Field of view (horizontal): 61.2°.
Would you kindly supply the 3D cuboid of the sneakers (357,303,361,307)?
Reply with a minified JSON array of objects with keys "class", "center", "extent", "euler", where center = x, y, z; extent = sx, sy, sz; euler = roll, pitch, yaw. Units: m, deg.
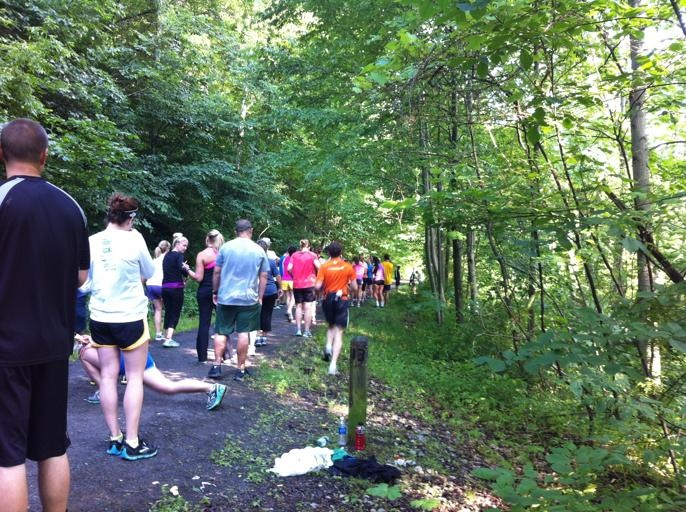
[{"class":"sneakers","center":[0.594,1.706,20.380],"extent":[0.128,0.224,0.121],"euler":[3,-5,-10]}]

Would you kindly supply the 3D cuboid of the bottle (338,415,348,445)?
[{"class":"bottle","center":[0.017,2.204,7.422],"extent":[0.123,0.325,0.295],"euler":[8,9,1]}]

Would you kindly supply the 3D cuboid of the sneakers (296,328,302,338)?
[{"class":"sneakers","center":[-0.969,1.702,12.901],"extent":[0.132,0.139,0.250],"euler":[8,-41,20]}]

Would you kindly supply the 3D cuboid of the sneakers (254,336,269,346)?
[{"class":"sneakers","center":[-1.601,1.652,11.404],"extent":[0.211,0.212,0.566],"euler":[0,-15,-5]}]

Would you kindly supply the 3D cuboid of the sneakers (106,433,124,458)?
[{"class":"sneakers","center":[-2.619,2.170,6.648],"extent":[0.137,0.121,0.297],"euler":[1,7,-13]}]

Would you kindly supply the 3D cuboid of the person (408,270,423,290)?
[{"class":"person","center":[3.967,1.214,31.332],"extent":[0.902,0.938,1.579],"euler":[5,6,7]}]

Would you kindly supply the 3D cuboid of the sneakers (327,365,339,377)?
[{"class":"sneakers","center":[-0.164,1.946,9.927],"extent":[0.184,0.167,0.128],"euler":[-2,-3,1]}]

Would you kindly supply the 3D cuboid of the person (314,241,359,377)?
[{"class":"person","center":[-0.170,0.873,10.020],"extent":[0.672,2.275,0.762],"euler":[7,10,-1]}]

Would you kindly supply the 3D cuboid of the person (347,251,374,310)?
[{"class":"person","center":[0.640,0.870,18.980],"extent":[0.662,0.692,1.782],"euler":[-12,-16,-5]}]

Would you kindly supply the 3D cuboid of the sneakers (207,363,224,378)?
[{"class":"sneakers","center":[-1.936,1.757,8.874],"extent":[0.130,0.223,0.348],"euler":[7,-6,-31]}]

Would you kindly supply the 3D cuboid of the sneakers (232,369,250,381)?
[{"class":"sneakers","center":[-1.566,1.836,9.006],"extent":[0.111,0.210,0.326],"euler":[11,-4,19]}]

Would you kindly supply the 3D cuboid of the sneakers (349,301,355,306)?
[{"class":"sneakers","center":[0.353,1.688,20.710],"extent":[0.092,0.152,0.101],"euler":[-23,-24,36]}]

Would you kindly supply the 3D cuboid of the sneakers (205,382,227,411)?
[{"class":"sneakers","center":[-1.691,1.844,7.798],"extent":[0.244,0.507,0.171],"euler":[19,37,-7]}]

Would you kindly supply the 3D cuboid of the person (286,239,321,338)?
[{"class":"person","center":[-0.793,0.679,13.175],"extent":[0.760,2.128,0.728],"euler":[-1,-6,20]}]

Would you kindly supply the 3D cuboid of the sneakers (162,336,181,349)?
[{"class":"sneakers","center":[-3.193,1.599,10.768],"extent":[0.376,0.164,0.145],"euler":[6,2,-24]}]

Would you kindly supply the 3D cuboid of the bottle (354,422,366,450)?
[{"class":"bottle","center":[0.220,2.261,7.275],"extent":[0.167,0.315,0.116],"euler":[10,10,14]}]

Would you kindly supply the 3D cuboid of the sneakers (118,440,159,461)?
[{"class":"sneakers","center":[-2.330,2.227,6.734],"extent":[0.451,0.204,0.173],"euler":[5,-3,-36]}]
